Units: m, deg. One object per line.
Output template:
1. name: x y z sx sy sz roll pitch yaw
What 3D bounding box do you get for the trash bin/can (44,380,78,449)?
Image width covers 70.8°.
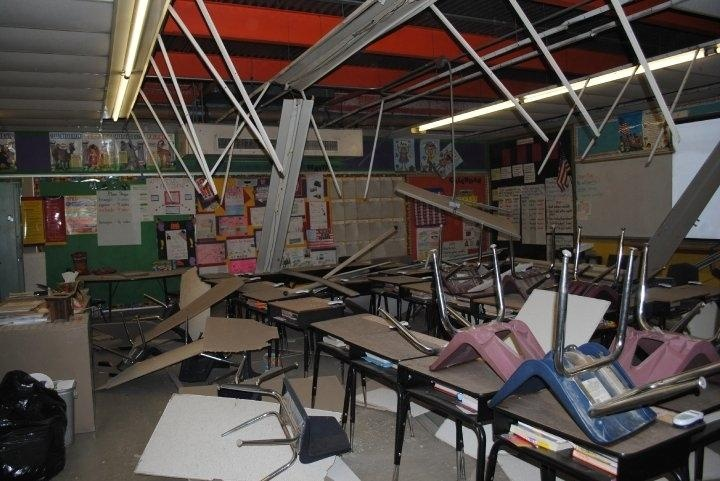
1. trash bin/can: -2.934 1.717 5.047 0.186 0.613 0.287 -5 5 -25

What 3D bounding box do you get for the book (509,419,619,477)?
1. book: 1.314 1.341 3.318 0.645 0.236 0.102 0 5 30

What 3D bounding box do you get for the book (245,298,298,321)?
1. book: -1.074 0.832 6.179 0.372 0.100 0.428 -1 5 -42

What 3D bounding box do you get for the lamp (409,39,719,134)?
1. lamp: 2.723 -2.026 6.981 0.939 0.343 3.729 -6 5 -43

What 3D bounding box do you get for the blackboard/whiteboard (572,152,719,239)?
1. blackboard/whiteboard: 4.825 -0.770 8.534 0.069 1.349 1.898 -1 3 -29
